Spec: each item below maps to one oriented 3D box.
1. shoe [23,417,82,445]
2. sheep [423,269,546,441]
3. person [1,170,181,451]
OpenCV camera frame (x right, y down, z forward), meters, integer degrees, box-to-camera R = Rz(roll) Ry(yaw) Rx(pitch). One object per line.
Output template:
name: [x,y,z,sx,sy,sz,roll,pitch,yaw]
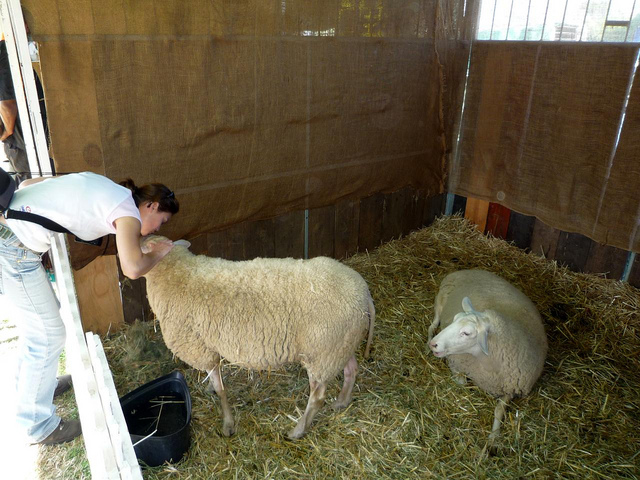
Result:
shoe: [-1.984,1.406,3.508,0.317,0.123,0.283,-12,27,-40]
sheep: [1.436,0.803,4.060,0.721,0.774,1.391,1,21,24]
person: [-1.675,0.515,3.475,1.003,2.055,1.247,36,29,32]
